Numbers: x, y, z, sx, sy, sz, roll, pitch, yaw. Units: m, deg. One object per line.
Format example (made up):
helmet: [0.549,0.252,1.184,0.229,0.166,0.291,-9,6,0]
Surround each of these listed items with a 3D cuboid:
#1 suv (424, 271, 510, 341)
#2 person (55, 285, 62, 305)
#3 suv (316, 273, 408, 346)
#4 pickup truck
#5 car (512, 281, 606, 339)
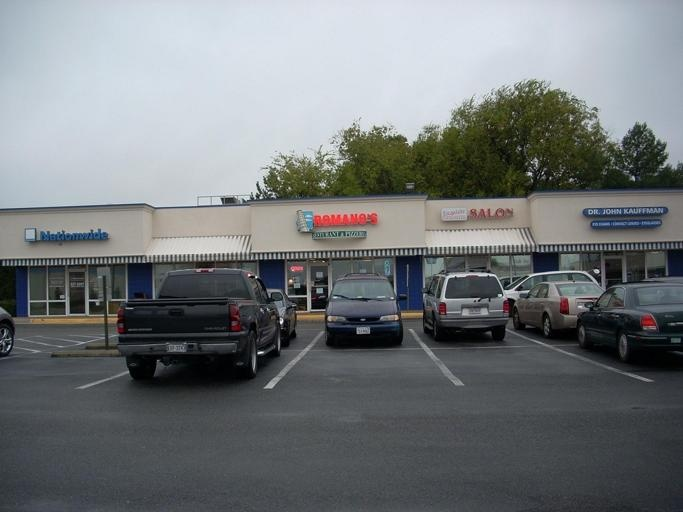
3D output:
suv: [3.674,1.455,19.476,1.957,2.031,2.422,-1,1,-5]
person: [-14.907,2.075,34.508,0.540,0.877,0.198,-1,1,15]
suv: [0.632,1.612,18.787,2.127,1.935,2.087,-1,1,1]
pickup truck: [-2.980,1.458,14.163,2.458,2.338,3.505,-1,1,5]
car: [6.464,1.489,19.793,1.096,0.957,2.790,-1,3,-5]
